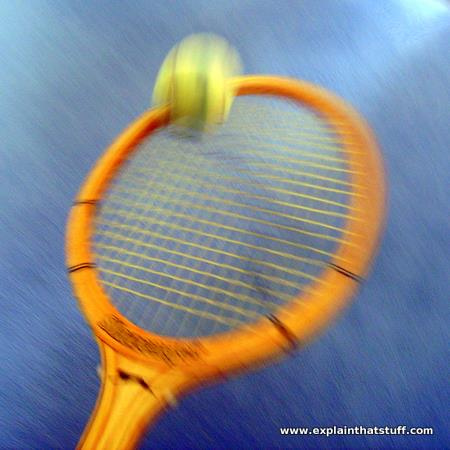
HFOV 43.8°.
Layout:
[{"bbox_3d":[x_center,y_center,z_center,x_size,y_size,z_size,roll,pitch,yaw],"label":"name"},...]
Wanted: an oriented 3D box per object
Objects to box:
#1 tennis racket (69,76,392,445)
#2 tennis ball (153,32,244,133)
[{"bbox_3d":[-0.028,0.008,0.954,0.703,0.213,0.455,-36,50,-12],"label":"tennis racket"},{"bbox_3d":[-0.051,-0.275,1.041,0.159,0.101,0.196,1,52,20],"label":"tennis ball"}]
